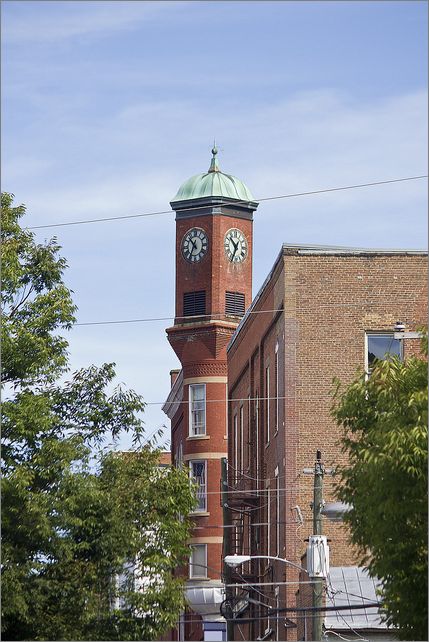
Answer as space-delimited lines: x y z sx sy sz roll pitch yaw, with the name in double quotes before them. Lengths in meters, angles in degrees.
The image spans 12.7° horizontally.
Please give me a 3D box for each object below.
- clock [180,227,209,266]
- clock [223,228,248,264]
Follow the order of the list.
"clock" -0.580 -2.767 71.610 1.079 1.608 0.146 -2 -10 17
"clock" 0.836 -2.788 71.858 0.064 1.049 0.937 -10 16 31
